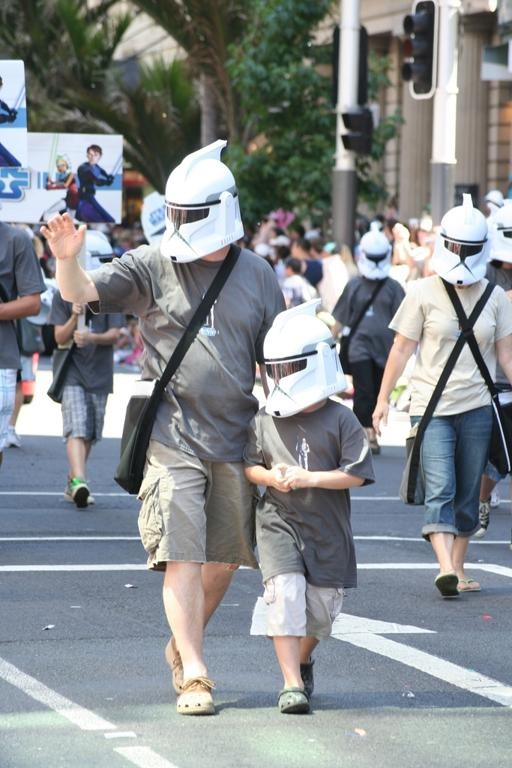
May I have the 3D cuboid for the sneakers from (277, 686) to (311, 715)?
[{"bbox_3d":[0.128,1.009,4.438,0.106,0.071,0.219,-1,-2,2],"label":"sneakers"}]

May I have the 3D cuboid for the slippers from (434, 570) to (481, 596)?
[{"bbox_3d":[0.952,0.933,6.528,0.107,0.115,0.305,6,-17,15],"label":"slippers"}]

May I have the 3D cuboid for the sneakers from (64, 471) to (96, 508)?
[{"bbox_3d":[-1.094,0.681,8.751,0.108,0.125,0.284,-16,3,-7],"label":"sneakers"}]

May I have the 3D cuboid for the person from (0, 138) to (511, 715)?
[{"bbox_3d":[-0.128,0.125,4.553,1.021,1.832,0.704,2,9,11],"label":"person"}]

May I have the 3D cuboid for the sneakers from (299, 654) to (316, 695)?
[{"bbox_3d":[0.185,0.966,4.623,0.047,0.132,0.058,-2,17,24],"label":"sneakers"}]

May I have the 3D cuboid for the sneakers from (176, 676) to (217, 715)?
[{"bbox_3d":[-0.179,0.975,4.383,0.121,0.147,0.103,0,9,-3],"label":"sneakers"}]
